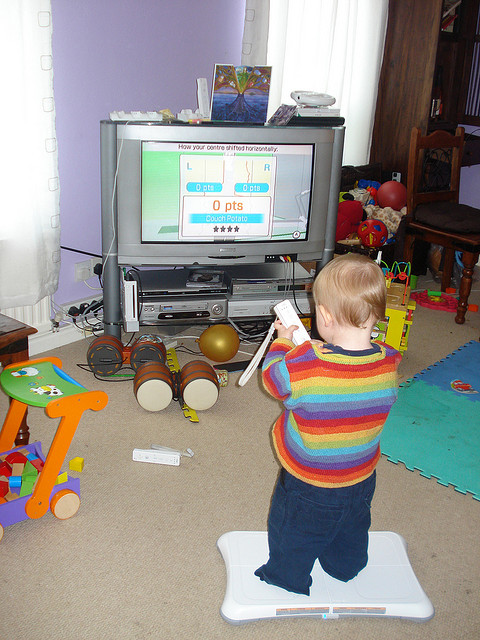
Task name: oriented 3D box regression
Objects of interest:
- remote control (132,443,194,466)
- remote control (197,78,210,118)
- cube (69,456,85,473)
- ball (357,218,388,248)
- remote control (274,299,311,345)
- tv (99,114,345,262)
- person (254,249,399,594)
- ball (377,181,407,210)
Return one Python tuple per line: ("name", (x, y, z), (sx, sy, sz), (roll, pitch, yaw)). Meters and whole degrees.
("remote control", (-0.290, 0.507, 1.929), (0.232, 0.052, 0.111), (-2, 23, -10))
("remote control", (-0.185, -1.141, 2.605), (0.061, 0.183, 0.128), (-1, 23, -5))
("cube", (-0.573, 0.508, 1.787), (0.049, 0.029, 0.049), (8, 40, 1))
("ball", (0.852, -0.544, 3.234), (0.151, 0.200, 0.163), (-1, -7, 0))
("remote control", (0.121, 0.014, 1.189), (0.083, 0.094, 0.194), (3, 23, 4))
("tv", (-0.084, -0.593, 2.727), (1.135, 0.687, 0.599), (0, 0, -4))
("person", (0.170, 0.280, 1.108), (0.276, 0.853, 0.229), (9, 24, 16))
("ball", (1.123, -0.914, 3.751), (0.196, 0.163, 0.168), (31, 42, 30))
